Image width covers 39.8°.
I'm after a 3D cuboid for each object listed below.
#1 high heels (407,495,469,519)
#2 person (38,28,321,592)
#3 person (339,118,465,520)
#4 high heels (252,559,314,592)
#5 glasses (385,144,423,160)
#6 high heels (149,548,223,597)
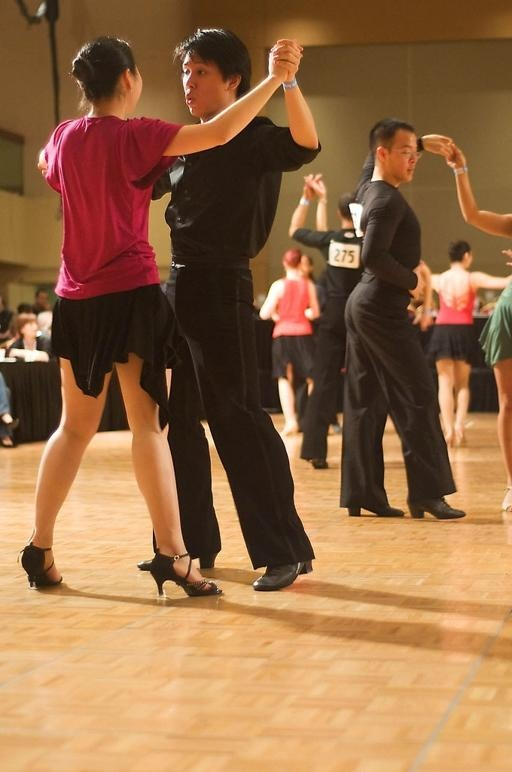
[{"bbox_3d":[0.787,0.535,3.131,0.288,0.121,0.094,-2,-3,14],"label":"high heels"},{"bbox_3d":[-0.272,-0.113,1.811,0.697,1.404,0.261,4,6,30],"label":"person"},{"bbox_3d":[0.684,-0.269,3.196,0.556,1.817,0.464,2,5,5],"label":"person"},{"bbox_3d":[0.078,0.530,2.004,0.171,0.068,0.061,-5,4,-43],"label":"high heels"},{"bbox_3d":[0.633,-1.010,3.061,0.116,0.034,0.115,3,9,29],"label":"glasses"},{"bbox_3d":[-0.196,0.505,1.913,0.245,0.133,0.079,-1,-3,-13],"label":"high heels"}]
